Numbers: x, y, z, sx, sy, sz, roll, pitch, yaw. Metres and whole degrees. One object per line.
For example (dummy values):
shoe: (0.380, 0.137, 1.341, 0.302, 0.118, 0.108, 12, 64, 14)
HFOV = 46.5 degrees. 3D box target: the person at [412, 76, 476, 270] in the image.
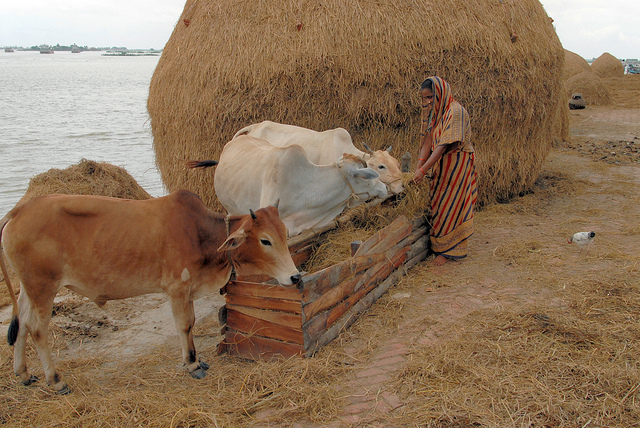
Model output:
person: (1.835, -0.595, 10.844, 0.883, 2.679, 0.635, 5, 18, 12)

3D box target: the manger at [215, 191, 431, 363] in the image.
manger: (0.294, 0.810, 11.364, 1.417, 1.379, 4.991, 5, 13, 22)

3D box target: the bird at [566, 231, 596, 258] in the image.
bird: (3.937, 0.422, 11.151, 0.189, 0.448, 0.662, 1, -1, -21)
